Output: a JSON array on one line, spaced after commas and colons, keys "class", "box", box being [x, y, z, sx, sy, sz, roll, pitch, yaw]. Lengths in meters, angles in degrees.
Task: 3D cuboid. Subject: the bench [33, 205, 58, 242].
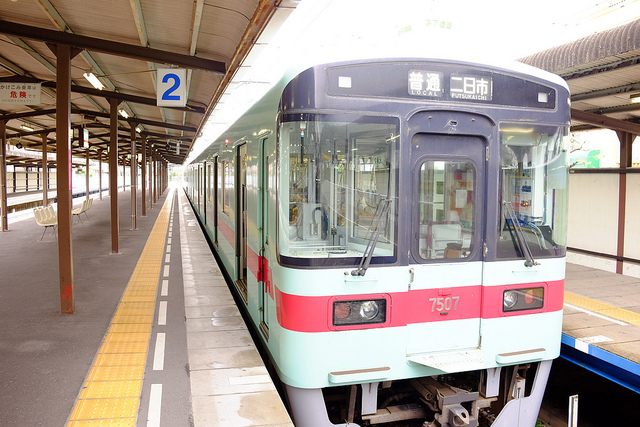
[{"class": "bench", "box": [-9.315, 0.287, 14.836, 0.553, 0.905, 1.493, 12, 4, -11]}]
